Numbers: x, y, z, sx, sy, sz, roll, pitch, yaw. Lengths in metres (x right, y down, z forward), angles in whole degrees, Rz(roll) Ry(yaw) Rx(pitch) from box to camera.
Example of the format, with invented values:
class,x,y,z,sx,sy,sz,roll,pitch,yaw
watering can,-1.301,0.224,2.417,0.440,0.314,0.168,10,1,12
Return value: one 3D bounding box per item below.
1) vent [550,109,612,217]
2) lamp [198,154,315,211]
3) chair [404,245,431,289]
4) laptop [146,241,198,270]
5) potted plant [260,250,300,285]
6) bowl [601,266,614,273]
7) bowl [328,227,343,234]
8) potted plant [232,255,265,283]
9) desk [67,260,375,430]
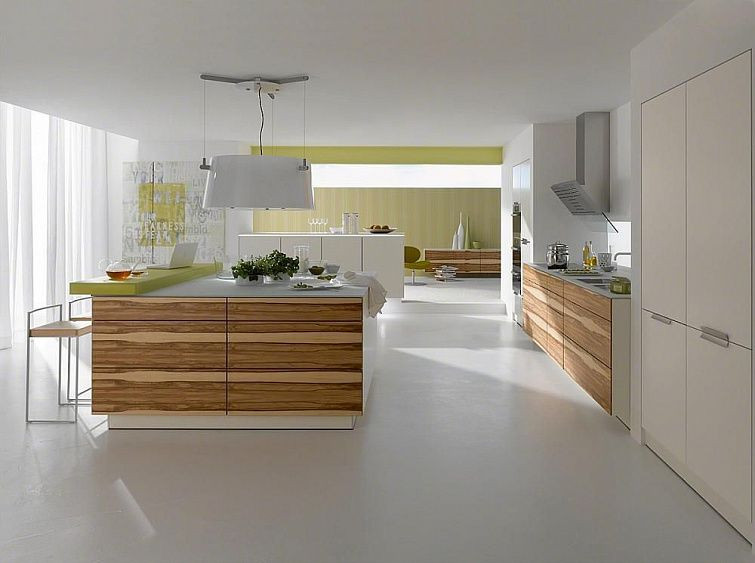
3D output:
class,x,y,z,sx,sy,sz,roll,pitch,yaw
vent,2.363,-1.177,6.276,0.580,1.055,0.686,14,-22,-21
lamp,-0.911,-0.711,3.929,0.512,0.236,0.517,1,1,27
chair,0.696,-0.220,9.427,0.470,0.583,0.461,2,9,23
laptop,-1.877,-0.223,4.860,0.351,0.278,0.483,0,3,11
potted plant,-0.853,-0.126,4.660,0.273,0.189,0.274,-1,0,-12
bowl,2.192,-0.108,5.090,0.118,0.068,0.058,1,12,3
bowl,-0.651,-0.797,8.572,0.140,0.058,0.140,-2,0,0
potted plant,-1.085,-0.103,4.618,0.239,0.142,0.240,-4,12,-3
desk,-1.094,0.539,3.902,1.952,0.866,0.414,1,12,7
